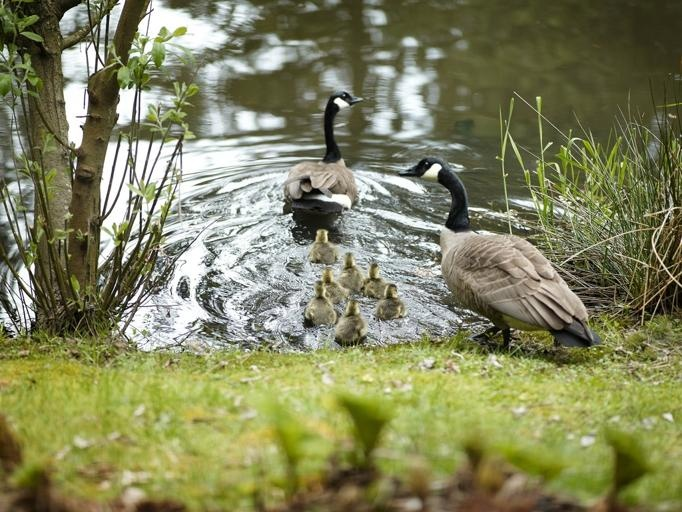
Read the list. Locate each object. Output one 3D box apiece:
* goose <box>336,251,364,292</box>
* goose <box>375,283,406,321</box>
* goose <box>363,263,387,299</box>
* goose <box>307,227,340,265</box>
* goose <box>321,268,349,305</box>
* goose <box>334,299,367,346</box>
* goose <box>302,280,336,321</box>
[{"bbox_3d":[0.104,0.161,7.877,0.302,0.271,0.386,-5,46,2],"label":"goose"},{"bbox_3d":[0.471,0.443,7.223,0.330,0.272,0.426,0,27,10],"label":"goose"},{"bbox_3d":[0.342,0.265,7.720,0.252,0.238,0.351,-3,40,2],"label":"goose"},{"bbox_3d":[-0.175,-0.102,8.299,0.337,0.271,0.382,-2,41,-3],"label":"goose"},{"bbox_3d":[-0.059,0.328,7.504,0.259,0.233,0.342,-14,55,0],"label":"goose"},{"bbox_3d":[0.120,0.581,6.691,0.300,0.255,0.390,2,32,10],"label":"goose"},{"bbox_3d":[-0.181,0.476,7.022,0.333,0.299,0.440,-1,33,-6],"label":"goose"}]
